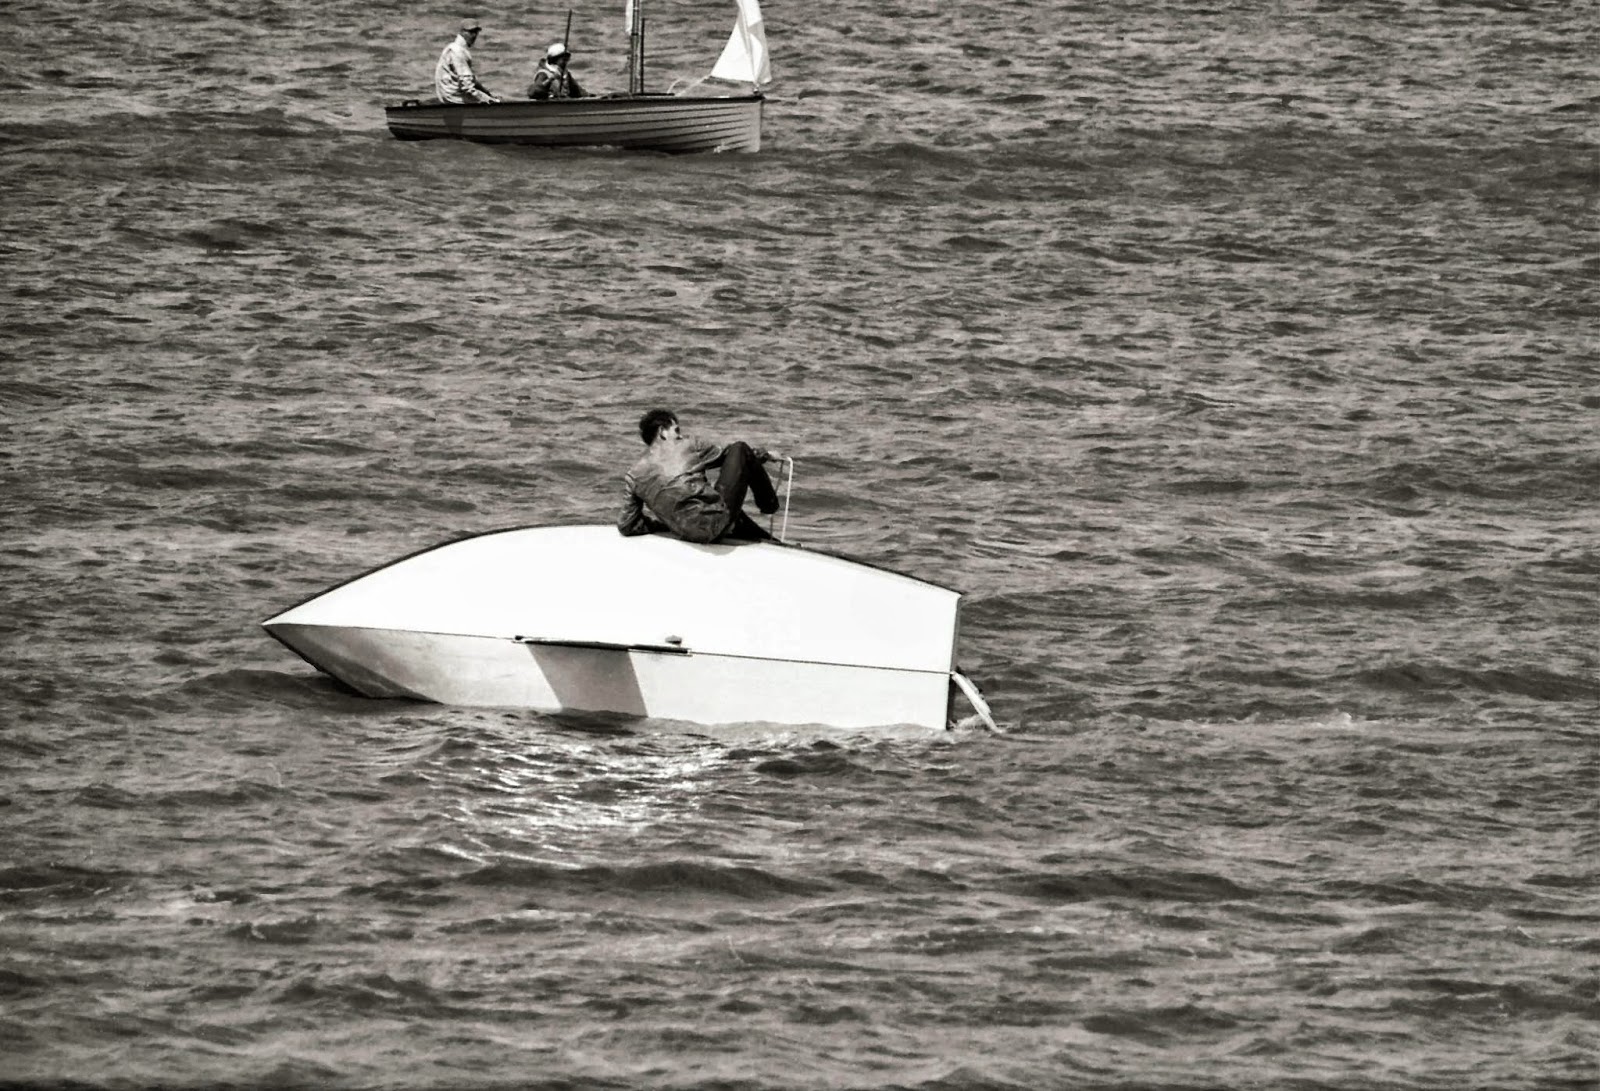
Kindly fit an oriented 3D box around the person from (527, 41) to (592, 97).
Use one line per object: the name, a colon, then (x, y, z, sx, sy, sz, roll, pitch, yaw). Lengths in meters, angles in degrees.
person: (-3.815, -7.642, 72.996, 0.937, 0.823, 0.727, -1, 16, 0)
